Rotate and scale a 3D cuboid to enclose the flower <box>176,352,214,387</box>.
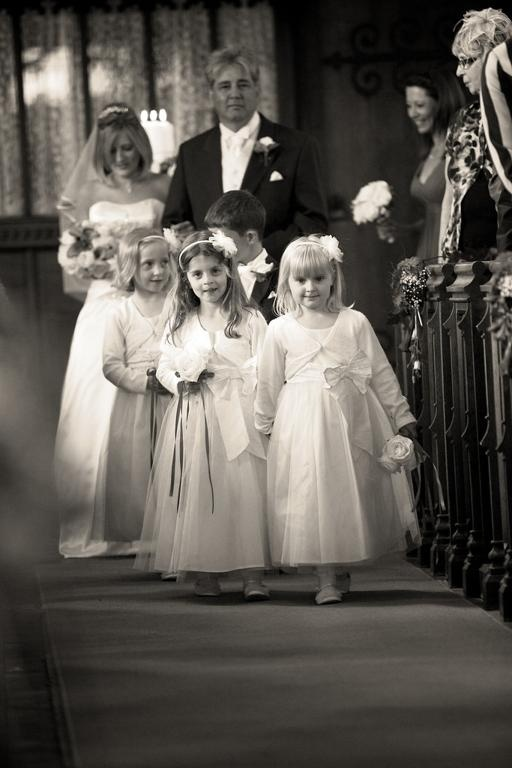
[{"bbox_3d":[-0.200,-0.047,3.049,0.091,0.106,0.053,-28,-49,22],"label":"flower"}]

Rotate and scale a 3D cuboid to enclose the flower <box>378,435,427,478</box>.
[{"bbox_3d":[0.434,0.210,2.876,0.131,0.106,0.183,-4,2,15],"label":"flower"}]

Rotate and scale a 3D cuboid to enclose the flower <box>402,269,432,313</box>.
[{"bbox_3d":[0.566,-0.336,3.393,0.048,0.124,0.097,-9,12,-33],"label":"flower"}]

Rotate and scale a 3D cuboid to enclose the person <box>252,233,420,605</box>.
[{"bbox_3d":[0.205,0.043,2.974,0.430,0.873,0.408,-2,1,-43],"label":"person"}]
